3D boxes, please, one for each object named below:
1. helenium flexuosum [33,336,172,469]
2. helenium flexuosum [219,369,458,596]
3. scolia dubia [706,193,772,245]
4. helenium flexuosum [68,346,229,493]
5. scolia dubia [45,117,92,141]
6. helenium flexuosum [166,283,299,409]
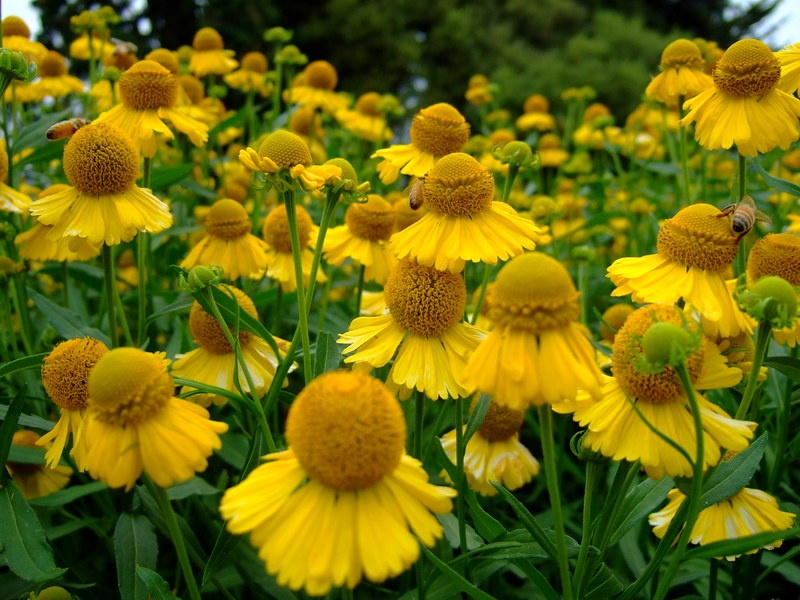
[{"bbox_3d":[-0.932,0.270,2.307,0.291,0.504,0.346,5,6,40],"label":"helenium flexuosum"},{"bbox_3d":[-0.169,0.554,1.898,0.499,0.481,0.491,42,56,18],"label":"helenium flexuosum"},{"bbox_3d":[1.065,-0.267,2.301,0.111,0.168,0.143,-5,12,-4],"label":"scolia dubia"},{"bbox_3d":[-0.677,0.320,2.058,0.353,0.405,0.368,-30,42,-8],"label":"helenium flexuosum"},{"bbox_3d":[-1.161,-0.590,2.588,0.102,0.045,0.143,-21,5,24],"label":"scolia dubia"},{"bbox_3d":[-0.557,0.172,2.443,0.248,0.534,0.292,2,8,24],"label":"helenium flexuosum"}]
